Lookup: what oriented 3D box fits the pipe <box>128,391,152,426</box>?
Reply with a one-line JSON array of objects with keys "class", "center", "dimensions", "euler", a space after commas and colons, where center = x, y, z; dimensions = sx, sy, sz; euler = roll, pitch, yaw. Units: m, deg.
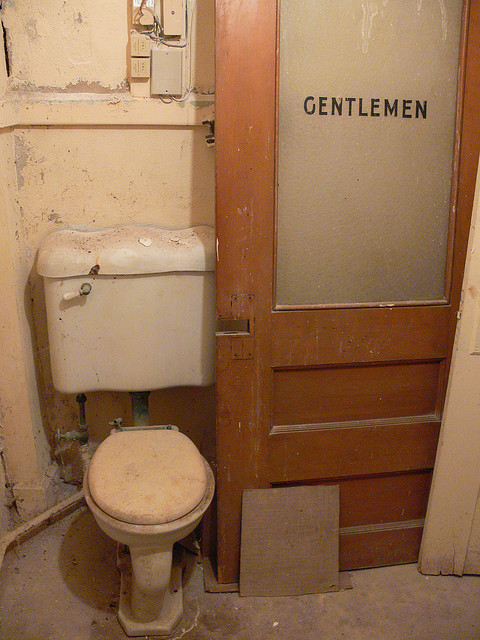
[{"class": "pipe", "center": [-0.300, 0.263, 1.746], "dimensions": [0.062, 0.132, 0.087], "euler": [-1, 22, -6]}]

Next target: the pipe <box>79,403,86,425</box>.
[{"class": "pipe", "center": [-0.516, 0.295, 1.889], "dimensions": [0.018, 0.089, 0.059], "euler": [-5, 20, -15]}]

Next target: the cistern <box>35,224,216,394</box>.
[{"class": "cistern", "center": [-0.316, -0.136, 1.769], "dimensions": [0.531, 0.634, 0.436], "euler": [-5, 48, -13]}]

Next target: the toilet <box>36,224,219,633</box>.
[{"class": "toilet", "center": [-0.258, 0.243, 1.614], "dimensions": [0.499, 0.987, 0.720], "euler": [-8, 21, -22]}]

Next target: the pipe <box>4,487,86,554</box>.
[{"class": "pipe", "center": [-0.635, 0.622, 1.845], "dimensions": [0.104, 0.065, 0.305], "euler": [16, 30, 34]}]
